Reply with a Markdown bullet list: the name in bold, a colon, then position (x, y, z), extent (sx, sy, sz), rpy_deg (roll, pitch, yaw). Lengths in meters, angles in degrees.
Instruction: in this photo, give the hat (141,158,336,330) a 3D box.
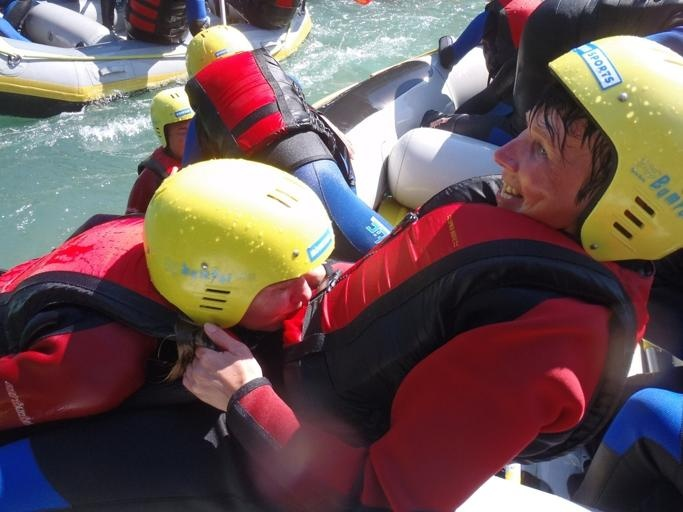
- **hat**: position (-0.327, -0.053, 1.881), extent (0.546, 0.469, 0.428), rpy_deg (10, 37, 0)
